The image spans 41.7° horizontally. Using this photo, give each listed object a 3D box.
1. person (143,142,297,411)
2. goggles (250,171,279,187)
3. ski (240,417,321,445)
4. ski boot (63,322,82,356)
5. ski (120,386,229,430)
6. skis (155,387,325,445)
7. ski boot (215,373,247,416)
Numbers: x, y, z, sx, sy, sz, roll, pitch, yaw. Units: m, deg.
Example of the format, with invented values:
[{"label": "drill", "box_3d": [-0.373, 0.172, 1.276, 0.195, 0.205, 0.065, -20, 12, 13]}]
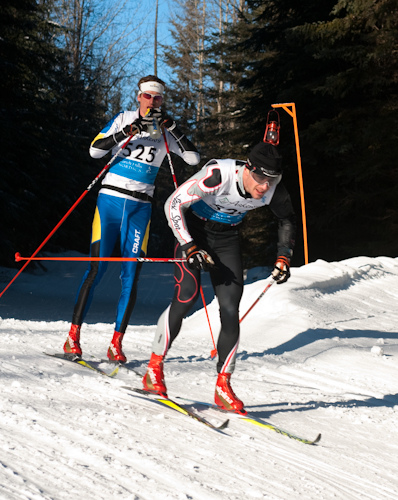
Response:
[{"label": "person", "box_3d": [0.096, 0.154, 3.307, 0.762, 1.592, 0.744, 13, -3, 22]}, {"label": "goggles", "box_3d": [0.357, -0.419, 2.998, 0.112, 0.034, 0.107, 7, 20, -32]}, {"label": "ski", "box_3d": [0.469, 1.048, 3.030, 0.481, 0.040, 0.197, 10, -2, 9]}, {"label": "ski boot", "box_3d": [-0.989, 0.718, 4.176, 0.154, 0.261, 0.248, 14, -3, -10]}, {"label": "ski", "box_3d": [-0.157, 0.921, 3.021, 0.077, 0.062, 0.653, 7, 5, -41]}, {"label": "skis", "box_3d": [0.232, 0.929, 2.968, 1.020, 0.100, 0.105, 22, 5, -9]}, {"label": "ski boot", "box_3d": [0.200, 0.879, 3.222, 0.100, 0.230, 0.268, 9, -7, -33]}]
